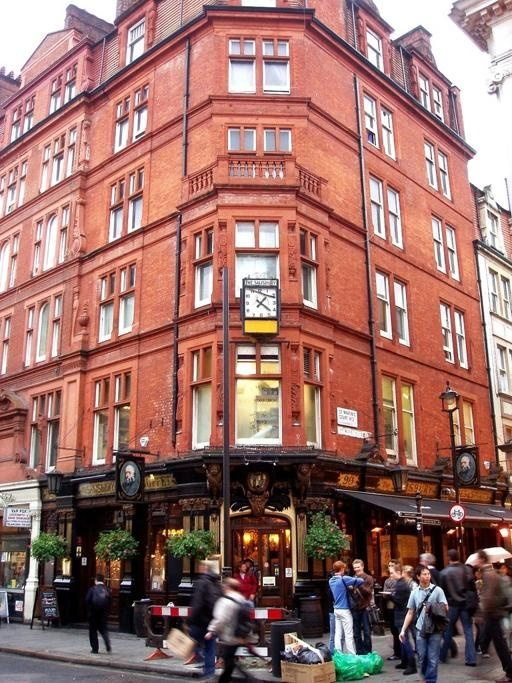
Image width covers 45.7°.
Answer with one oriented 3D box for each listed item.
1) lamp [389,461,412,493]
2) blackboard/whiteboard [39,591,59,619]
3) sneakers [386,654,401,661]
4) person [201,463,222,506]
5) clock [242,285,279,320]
[{"bbox_3d":[4.610,4.470,19.668,0.578,0.867,1.254,-6,-21,14],"label":"lamp"},{"bbox_3d":[-6.249,7.982,18.410,0.520,0.785,0.533,1,-20,-6],"label":"blackboard/whiteboard"},{"bbox_3d":[2.394,5.538,10.638,0.327,0.133,0.109,15,-34,-21],"label":"sneakers"},{"bbox_3d":[-1.072,3.586,15.616,0.692,0.984,0.956,-3,23,-4],"label":"person"},{"bbox_3d":[0.082,-1.024,16.401,0.968,0.922,0.125,0,-13,-6],"label":"clock"}]
